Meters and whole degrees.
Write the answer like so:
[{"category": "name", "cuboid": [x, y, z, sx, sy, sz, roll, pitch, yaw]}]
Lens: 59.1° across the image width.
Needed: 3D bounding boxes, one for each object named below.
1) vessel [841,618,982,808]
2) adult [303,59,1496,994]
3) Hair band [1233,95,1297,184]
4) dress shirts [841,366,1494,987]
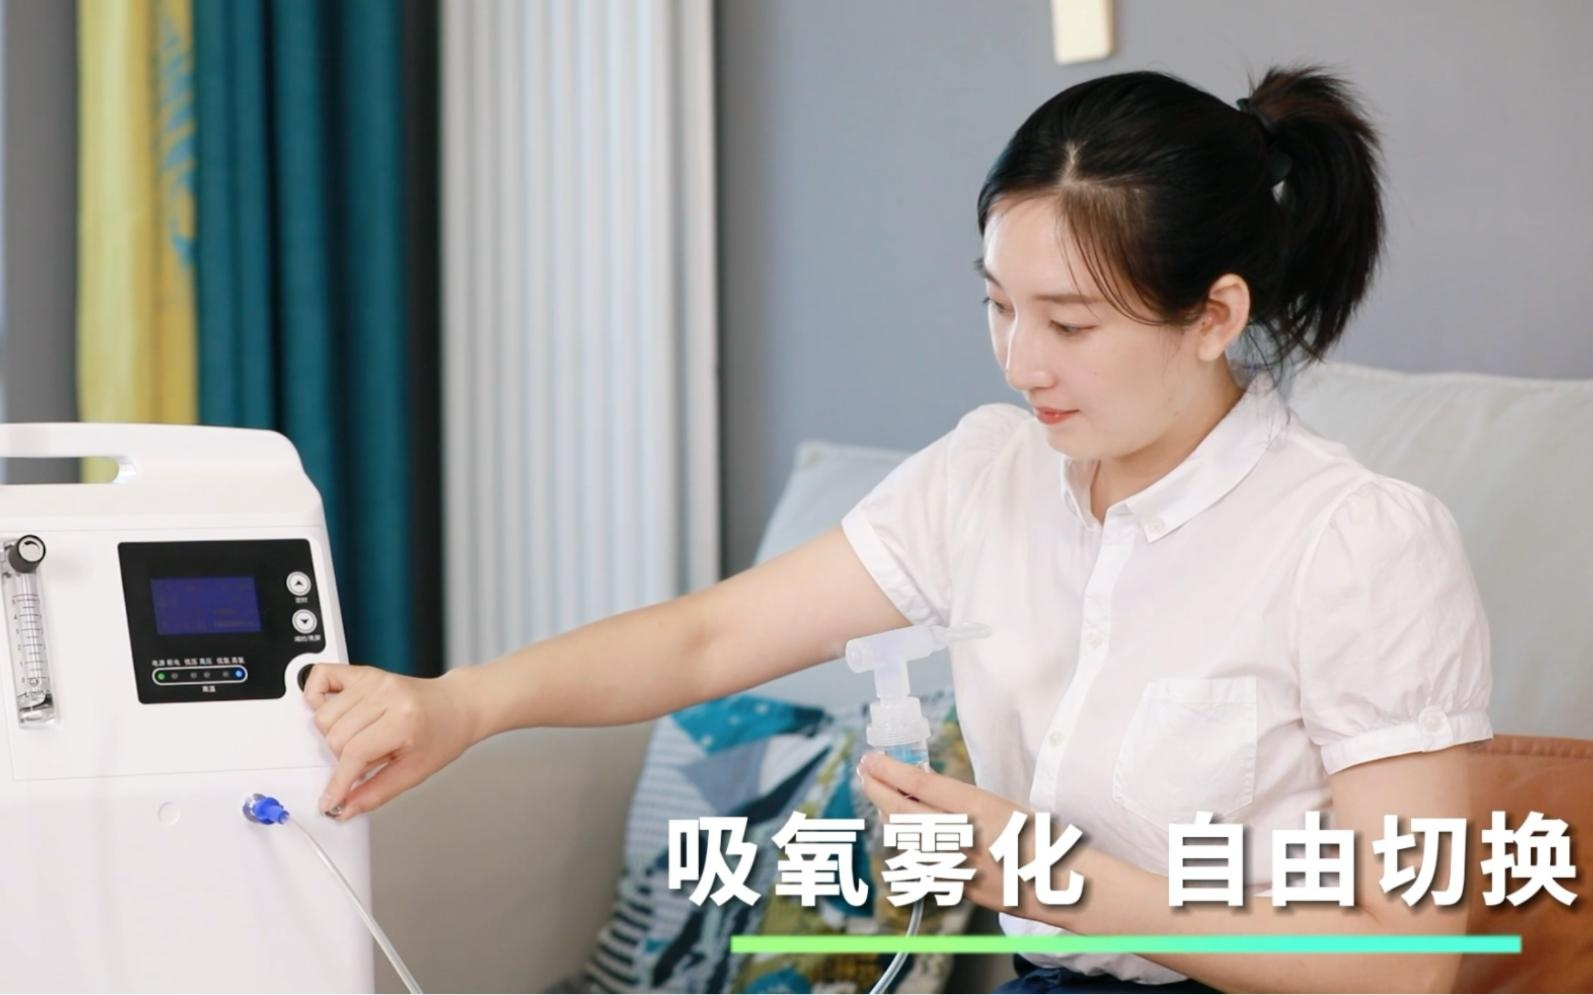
[{"category": "vessel", "cuboid": [0.123, 0.203, 1.443, 0.143, 0.148, 0.057, -1, 4, -4]}, {"category": "adult", "cuboid": [0.027, 0.101, 1.968, 1.229, 1.532, 1.011, 1, 1, -25]}, {"category": "Hair band", "cuboid": [0.503, -0.382, 1.490, 0.031, 0.097, 0.072, -24, 18, 17]}, {"category": "dress shirts", "cuboid": [0.425, 0.195, 1.532, 0.437, 0.681, 0.766, -2, 5, -40]}]
